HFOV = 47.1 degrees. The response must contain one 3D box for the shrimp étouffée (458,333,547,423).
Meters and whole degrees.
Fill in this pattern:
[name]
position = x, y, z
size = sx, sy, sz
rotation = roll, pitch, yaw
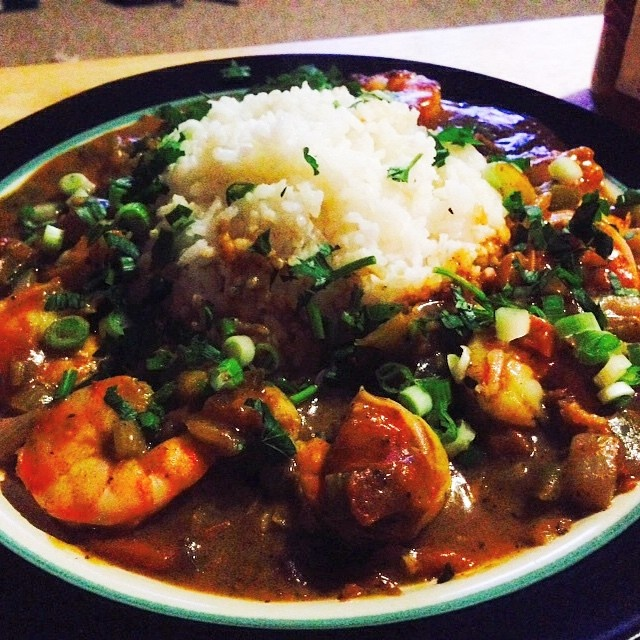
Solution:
[shrimp étouffée]
position = 0.954, 0.332, 3.777
size = 0.437, 0.107, 0.413
rotation = -24, 78, -11
